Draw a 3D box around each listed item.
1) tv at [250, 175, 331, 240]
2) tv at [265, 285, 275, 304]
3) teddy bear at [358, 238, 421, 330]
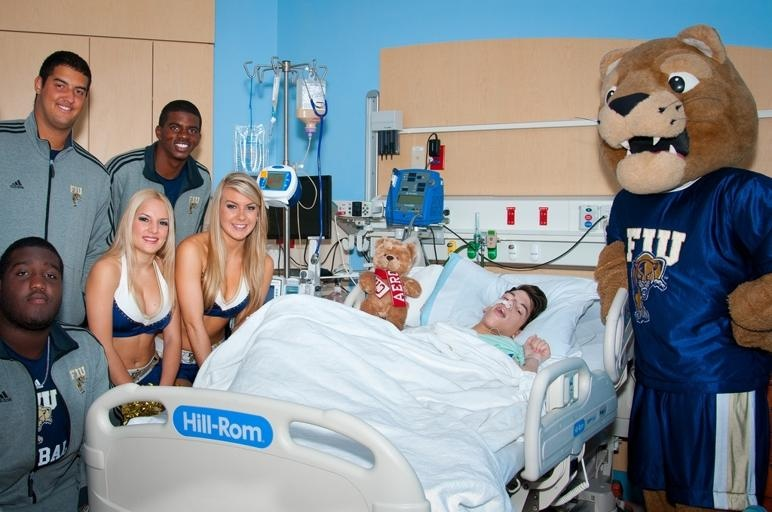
[{"bbox_3d":[-0.579,-0.319,3.971,0.493,0.360,0.052,0,6,22],"label":"tv"},{"bbox_3d":[-0.699,0.223,3.783,0.029,0.106,0.112,10,-8,-33],"label":"tv"},{"bbox_3d":[0.011,0.180,3.799,0.355,0.560,0.322,7,3,-22],"label":"teddy bear"}]
